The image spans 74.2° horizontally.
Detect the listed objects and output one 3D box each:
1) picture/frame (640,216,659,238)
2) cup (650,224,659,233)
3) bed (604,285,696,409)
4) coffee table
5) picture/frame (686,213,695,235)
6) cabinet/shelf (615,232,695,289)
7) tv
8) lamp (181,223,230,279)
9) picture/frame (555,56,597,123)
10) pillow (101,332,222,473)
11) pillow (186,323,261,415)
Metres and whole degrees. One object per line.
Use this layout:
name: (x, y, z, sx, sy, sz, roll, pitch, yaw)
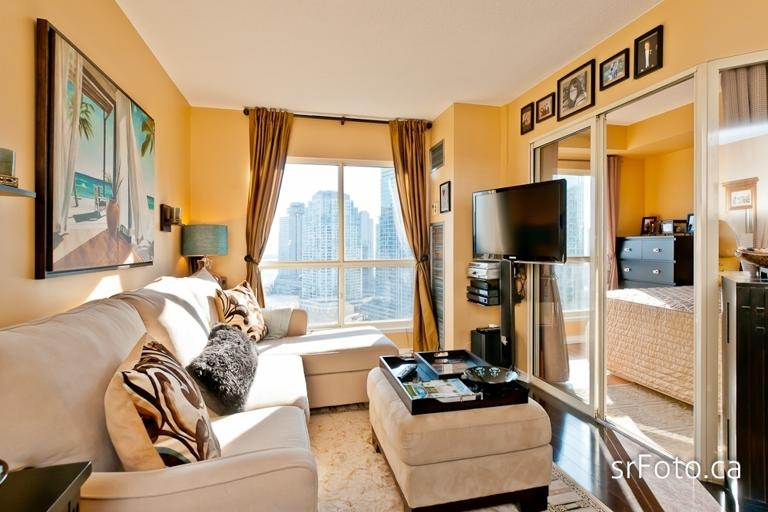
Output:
picture/frame: (3.032, -0.335, 5.773, 0.025, 0.321, 0.248, 3, 0, -19)
cup: (3.072, -0.306, 5.739, 0.074, 0.128, 0.077, 1, 10, 0)
bed: (2.375, 0.762, 4.721, 0.942, 0.842, 0.963, 2, -4, 25)
coffee table: (0.497, 1.265, 3.468, 0.680, 0.483, 0.938, -1, 2, -14)
picture/frame: (3.311, -0.343, 5.477, 0.065, 0.237, 0.395, 0, 3, 27)
cabinet/shelf: (3.009, 0.062, 5.801, 0.515, 0.875, 0.874, 1, -2, -17)
tv: (1.325, -0.305, 4.862, 0.085, 0.617, 0.834, -3, 3, -36)
lamp: (-1.868, -0.042, 5.243, 0.386, 0.634, 0.388, 14, 3, -17)
picture/frame: (1.738, -1.497, 4.545, 0.075, 0.579, 0.584, 4, -4, -17)
pillow: (-1.236, 0.843, 2.855, 0.540, 0.634, 0.343, -1, 2, 1)
pillow: (-1.117, 0.794, 3.680, 0.315, 0.202, 0.558, 28, 12, -16)
